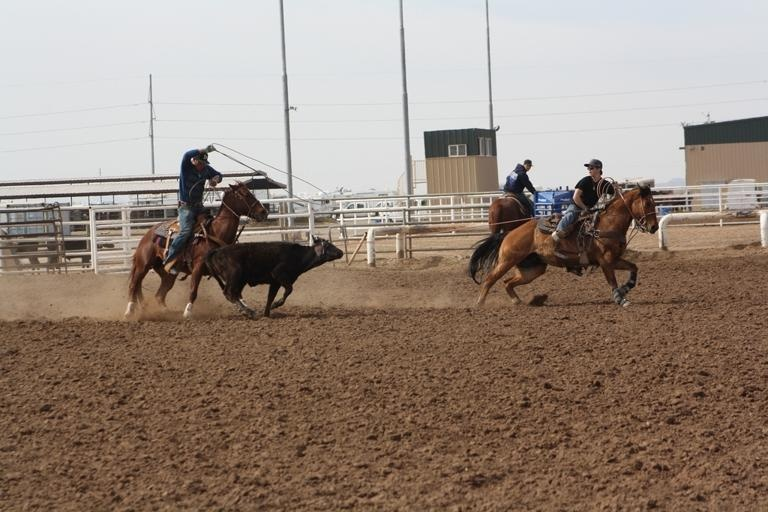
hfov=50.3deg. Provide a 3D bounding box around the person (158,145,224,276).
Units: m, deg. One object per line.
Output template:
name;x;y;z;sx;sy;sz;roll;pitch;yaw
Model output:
person;-3.166;-0.729;13.324;1.000;2.046;0.511;-1;2;-1

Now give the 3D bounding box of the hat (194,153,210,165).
hat;-2.968;-1.570;13.208;0.229;0.178;0.213;-3;3;-25

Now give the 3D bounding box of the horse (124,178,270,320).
horse;-3.141;0.033;13.547;3.066;2.114;0.831;-8;-6;27

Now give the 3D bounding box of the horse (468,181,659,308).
horse;2.861;-0.083;13.322;3.181;1.924;0.900;-3;-13;27

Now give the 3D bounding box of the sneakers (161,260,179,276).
sneakers;-3.518;0.229;13.415;0.195;0.076;0.258;-31;-6;-38

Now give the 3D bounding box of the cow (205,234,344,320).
cow;-1.685;0.329;12.877;2.185;1.241;0.589;-3;4;-18
